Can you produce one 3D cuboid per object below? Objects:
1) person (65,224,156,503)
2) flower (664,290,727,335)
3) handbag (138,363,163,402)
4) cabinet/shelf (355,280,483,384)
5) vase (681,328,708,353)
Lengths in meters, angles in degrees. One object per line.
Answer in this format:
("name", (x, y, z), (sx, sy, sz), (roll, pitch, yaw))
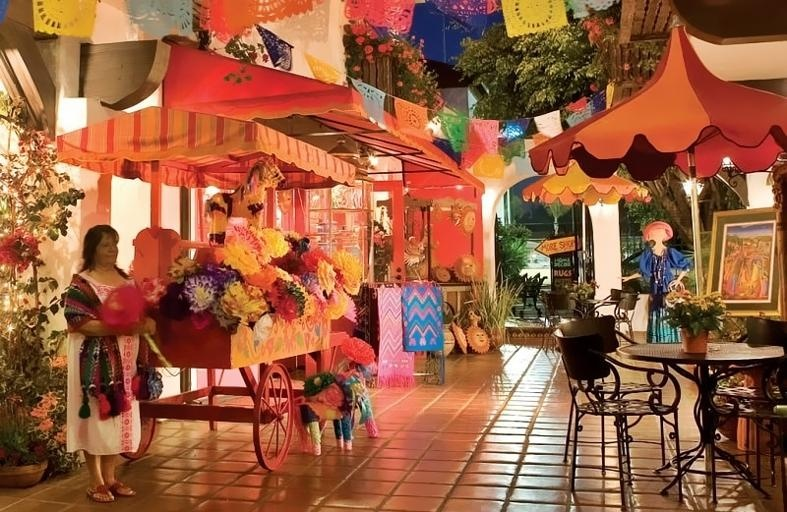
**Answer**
("person", (-2.456, 0.917, 5.978), (0.641, 2.339, 0.321), (-2, 3, -26))
("flower", (2.600, 0.501, 6.194), (0.402, 0.243, 0.405), (1, -4, 4))
("handbag", (-2.245, 1.175, 6.441), (0.255, 0.328, 0.119), (2, 3, -37))
("cabinet/shelf", (0.506, 1.084, 11.629), (2.468, 1.538, 3.526), (-1, 3, -9))
("vase", (2.605, 0.742, 6.101), (0.216, 0.162, 0.215), (1, -7, 1))
